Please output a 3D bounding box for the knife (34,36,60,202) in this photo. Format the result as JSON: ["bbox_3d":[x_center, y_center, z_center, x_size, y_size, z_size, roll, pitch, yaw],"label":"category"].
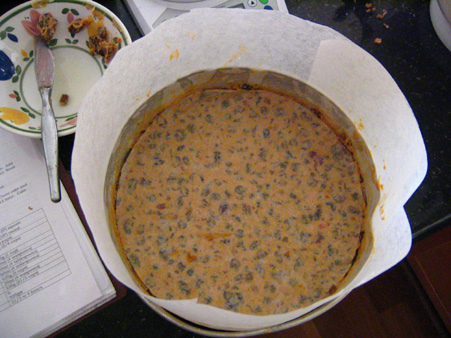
[{"bbox_3d":[-0.361,-0.114,0.909,0.052,0.485,0.026,-5,-14,-5],"label":"knife"}]

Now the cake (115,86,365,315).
[{"bbox_3d":[0.061,0.076,0.889,0.430,0.477,0.109,0,32,-5],"label":"cake"}]

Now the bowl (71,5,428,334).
[{"bbox_3d":[0.042,-0.007,0.777,0.589,0.535,0.142,19,-6,1],"label":"bowl"}]
